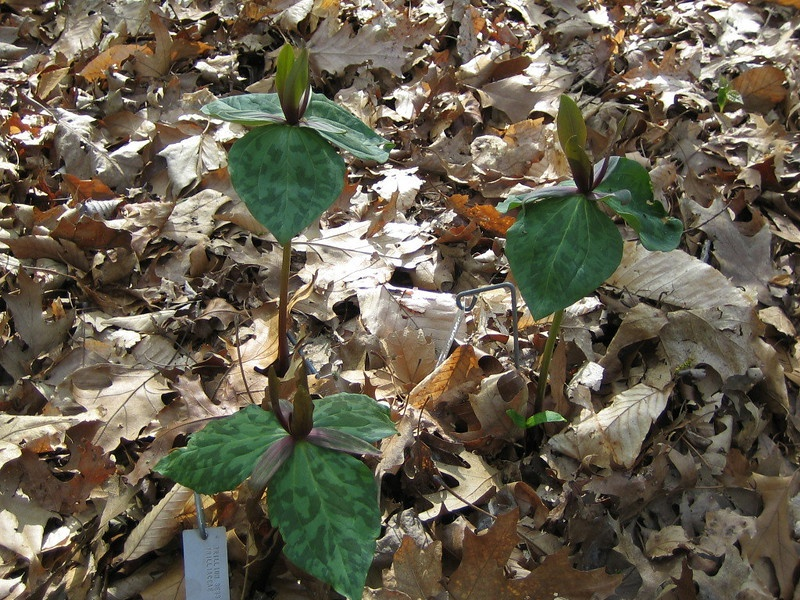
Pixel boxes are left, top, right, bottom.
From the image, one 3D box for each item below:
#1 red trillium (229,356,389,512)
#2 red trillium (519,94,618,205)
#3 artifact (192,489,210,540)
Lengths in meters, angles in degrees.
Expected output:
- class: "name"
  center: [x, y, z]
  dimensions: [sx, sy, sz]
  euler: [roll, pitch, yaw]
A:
- class: "red trillium"
  center: [-0.372, 0.530, 2.901]
  dimensions: [0.522, 0.333, 0.585]
  euler: [3, 34, 22]
- class: "red trillium"
  center: [0.759, -0.585, 2.939]
  dimensions: [0.312, 0.338, 0.373]
  euler: [22, 58, 5]
- class: "artifact"
  center: [-0.893, 0.934, 3.019]
  dimensions: [0.039, 0.056, 0.191]
  euler: [11, 27, -32]
